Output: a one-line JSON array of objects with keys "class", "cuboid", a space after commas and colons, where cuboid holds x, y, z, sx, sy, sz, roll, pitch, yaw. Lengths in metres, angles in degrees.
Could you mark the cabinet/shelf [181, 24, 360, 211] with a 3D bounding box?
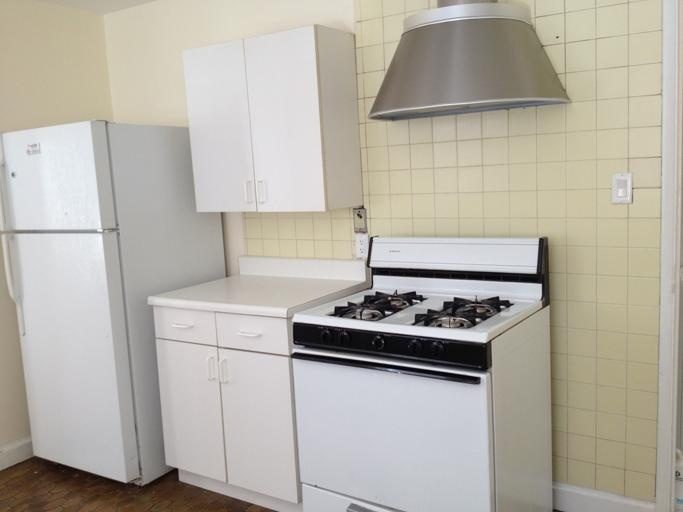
[{"class": "cabinet/shelf", "cuboid": [-0.350, -0.737, 3.306, 1.242, 0.957, 0.488, 8, 17, 42]}]
